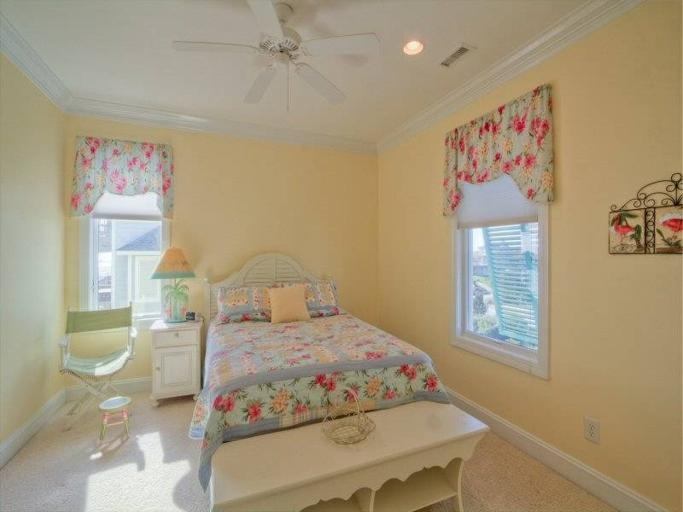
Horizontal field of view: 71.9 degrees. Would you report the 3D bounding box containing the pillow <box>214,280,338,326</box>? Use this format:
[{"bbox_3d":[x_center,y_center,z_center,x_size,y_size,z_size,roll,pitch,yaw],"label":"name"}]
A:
[{"bbox_3d":[-0.655,0.482,4.957,1.268,0.364,0.408,-3,1,-20],"label":"pillow"}]

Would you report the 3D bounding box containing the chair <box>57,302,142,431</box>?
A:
[{"bbox_3d":[-2.243,1.006,4.368,0.683,1.040,0.693,-2,6,-44],"label":"chair"}]

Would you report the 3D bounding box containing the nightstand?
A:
[{"bbox_3d":[-1.693,0.976,4.810,0.611,0.914,0.586,6,23,-8],"label":"nightstand"}]

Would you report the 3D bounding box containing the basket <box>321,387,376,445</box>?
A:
[{"bbox_3d":[0.056,1.102,3.318,0.379,0.340,0.370,9,2,-42],"label":"basket"}]

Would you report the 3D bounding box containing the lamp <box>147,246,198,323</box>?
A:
[{"bbox_3d":[-1.705,0.307,4.817,0.380,0.755,0.476,-5,-3,-7],"label":"lamp"}]

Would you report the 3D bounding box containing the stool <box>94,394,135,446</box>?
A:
[{"bbox_3d":[-1.976,1.451,4.095,0.242,0.284,0.250,-11,-12,4],"label":"stool"}]
